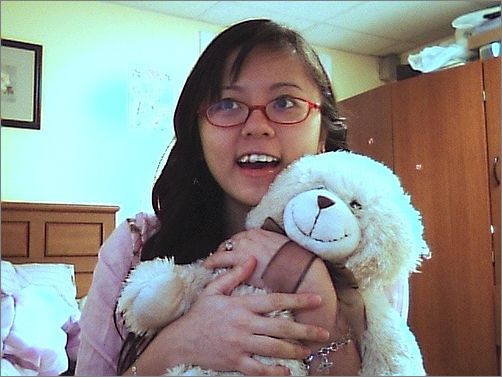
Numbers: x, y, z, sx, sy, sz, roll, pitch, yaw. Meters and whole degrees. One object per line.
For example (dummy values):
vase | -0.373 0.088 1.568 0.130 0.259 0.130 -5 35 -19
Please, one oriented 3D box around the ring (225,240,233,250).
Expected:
ring | -0.051 0.126 1.070 0.015 0.019 0.003 7 -10 26

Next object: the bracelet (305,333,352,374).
bracelet | 0.166 0.356 1.013 0.072 0.094 0.034 35 -2 27
